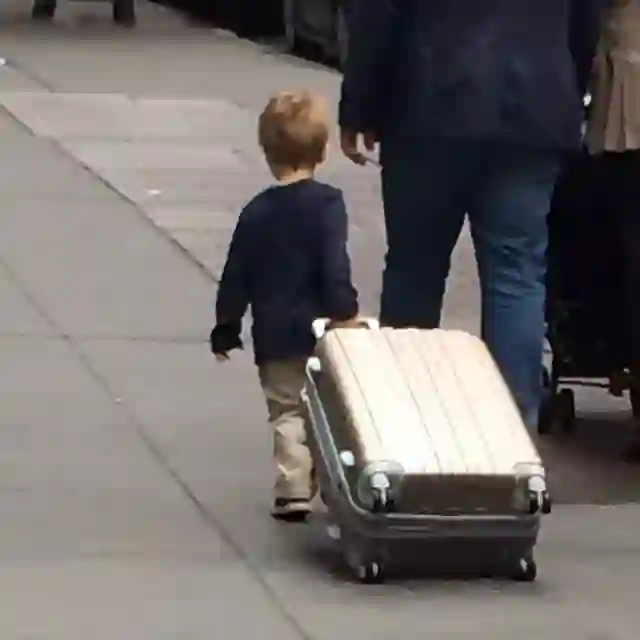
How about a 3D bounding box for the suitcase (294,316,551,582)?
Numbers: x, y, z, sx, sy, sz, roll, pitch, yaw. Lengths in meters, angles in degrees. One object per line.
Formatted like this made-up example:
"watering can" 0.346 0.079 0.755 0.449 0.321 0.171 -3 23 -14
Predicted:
"suitcase" 0.300 0.398 3.779 0.637 0.660 0.643 2 14 -11
